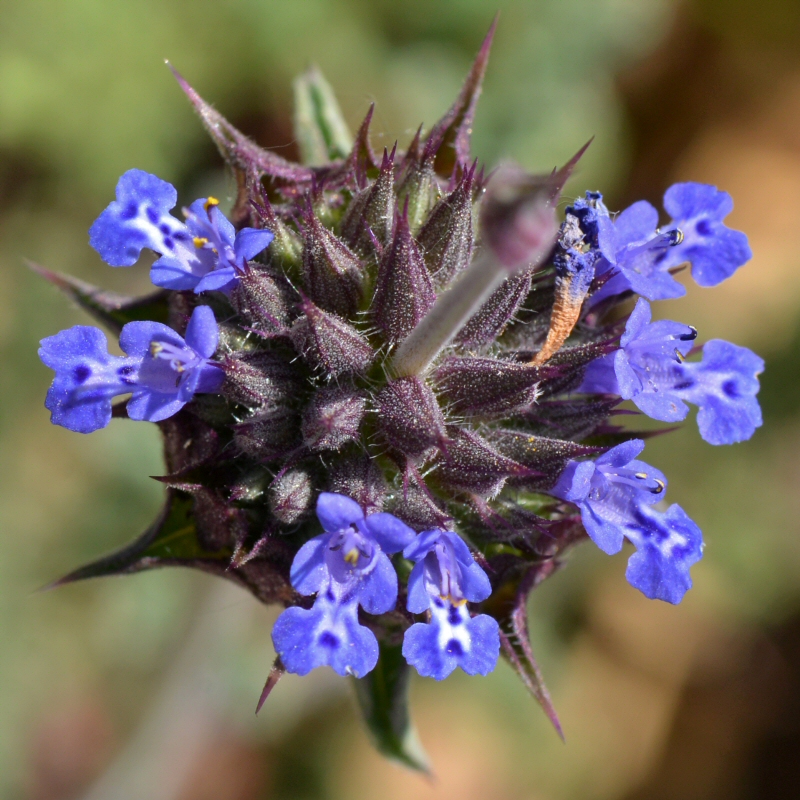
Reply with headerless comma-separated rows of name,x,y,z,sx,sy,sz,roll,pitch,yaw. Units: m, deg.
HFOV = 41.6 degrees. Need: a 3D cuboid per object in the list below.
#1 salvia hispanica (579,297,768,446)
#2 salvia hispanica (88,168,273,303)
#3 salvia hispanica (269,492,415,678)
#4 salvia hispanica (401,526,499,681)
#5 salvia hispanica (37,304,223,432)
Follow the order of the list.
salvia hispanica,1.717,-0.126,6.217,0.988,0.805,0.665,18,72,6
salvia hispanica,-1.322,-0.973,6.169,1.034,0.411,0.624,33,73,11
salvia hispanica,-0.312,0.995,5.879,0.833,0.406,1.020,17,83,-4
salvia hispanica,0.218,1.115,5.891,0.653,0.295,0.793,-9,83,-12
salvia hispanica,-1.433,-0.155,5.942,1.240,0.378,0.547,-8,74,21
